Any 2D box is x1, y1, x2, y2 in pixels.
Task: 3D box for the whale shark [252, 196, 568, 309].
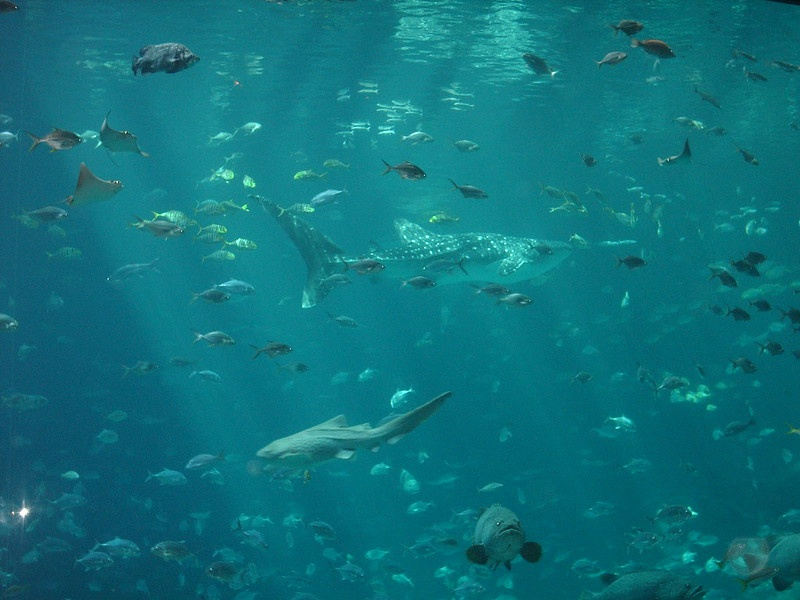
[{"bbox_3d":[1.600,-2.020,40.903,16.444,3.630,3.796,-2,-11,-37],"label":"whale shark"}]
